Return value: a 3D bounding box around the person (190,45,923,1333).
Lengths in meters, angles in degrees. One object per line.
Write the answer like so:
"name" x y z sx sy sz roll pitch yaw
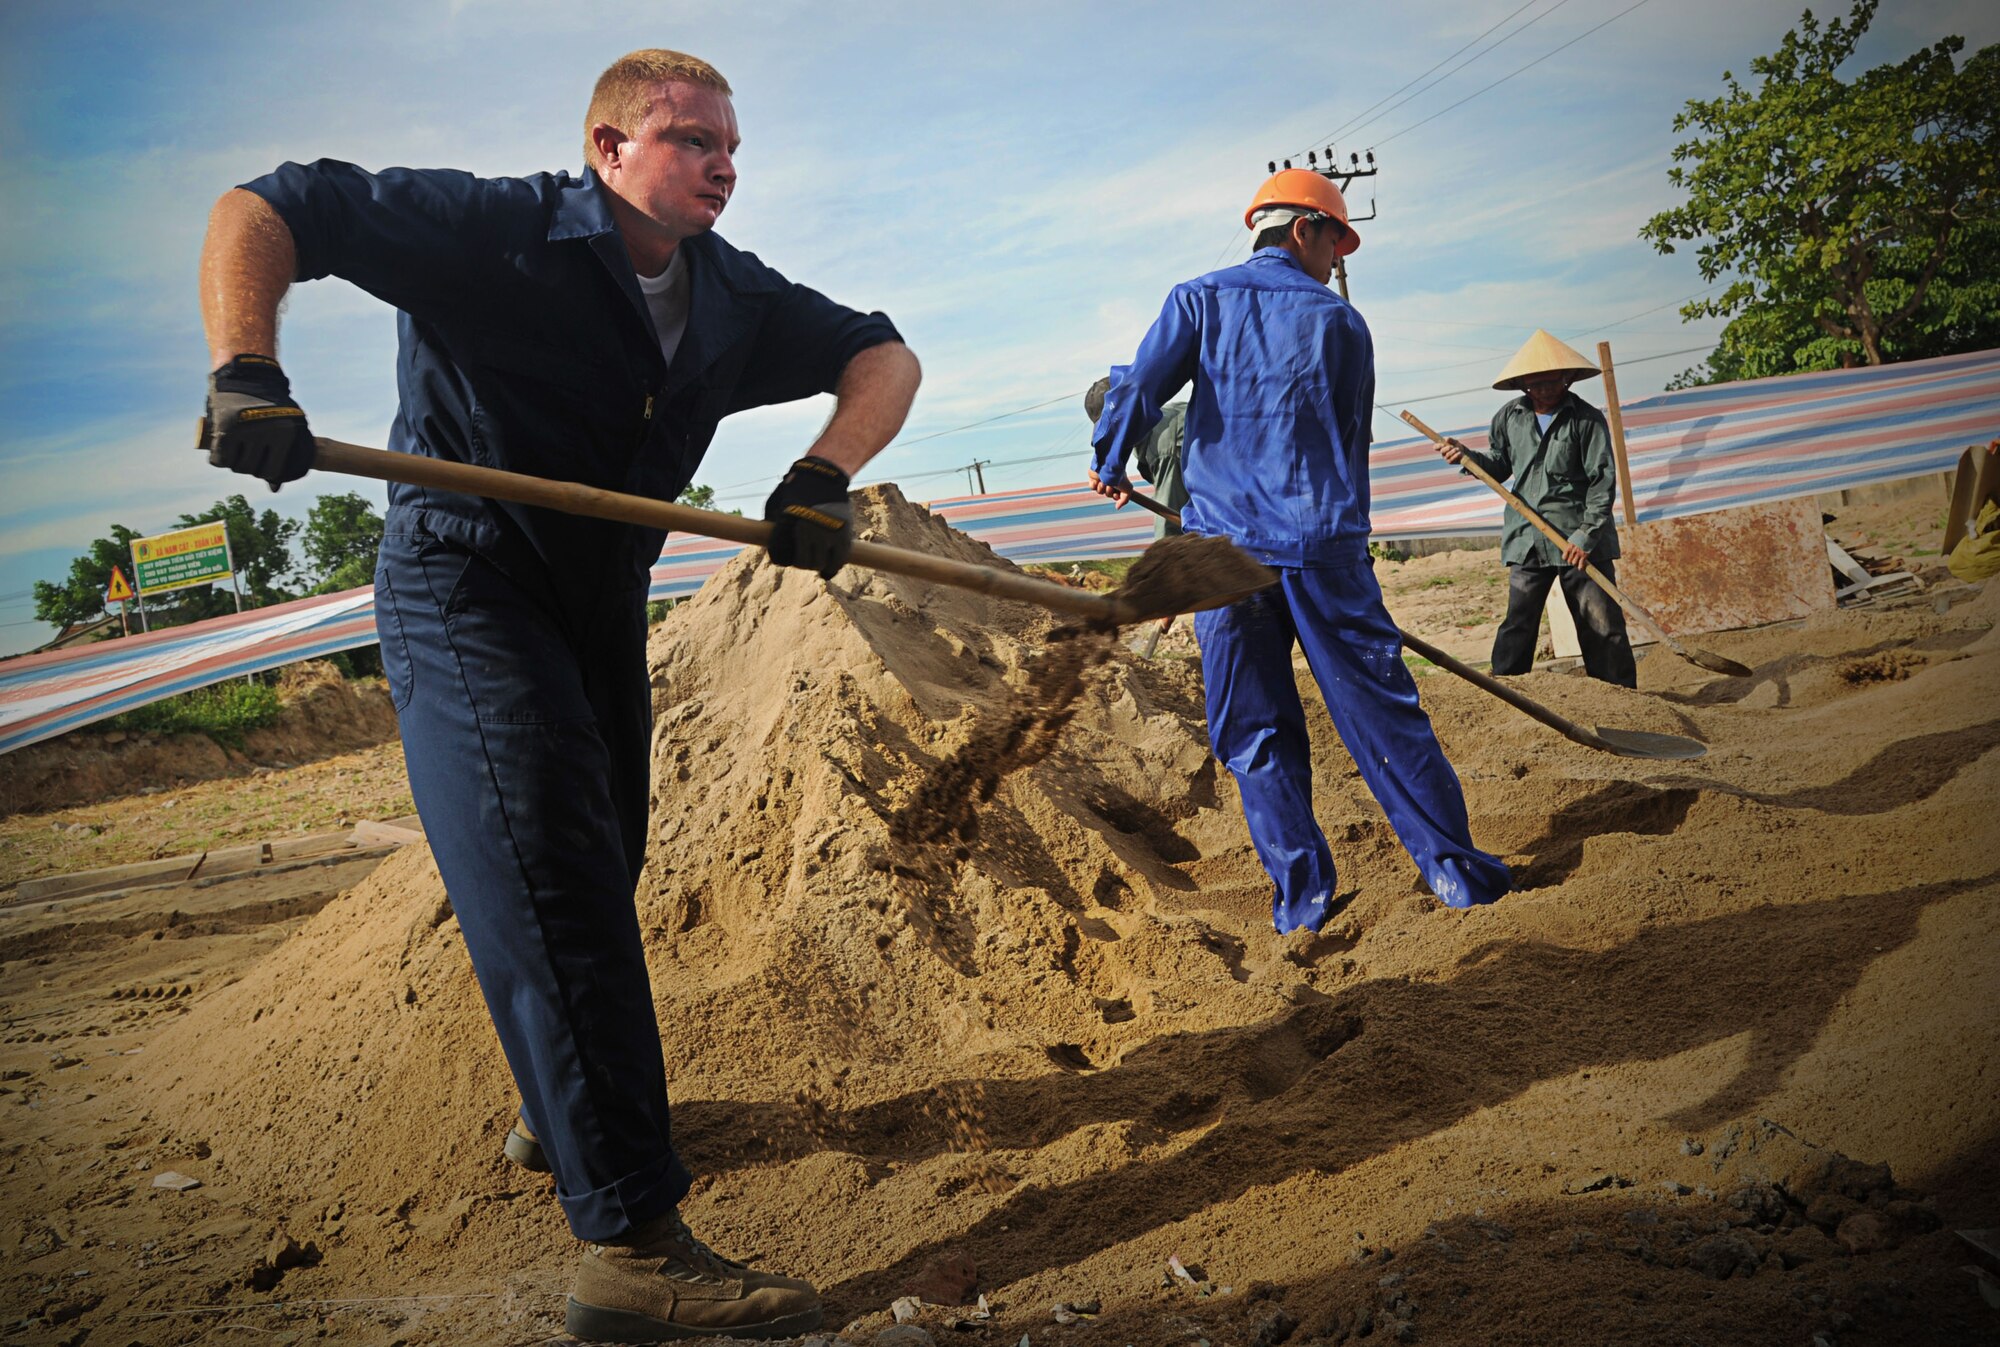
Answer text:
"person" -1.087 0.041 3.630 1.619 3.420 0.895 -16 14 -27

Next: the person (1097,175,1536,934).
"person" 1.129 -0.338 4.936 1.354 2.575 0.760 -5 13 20
